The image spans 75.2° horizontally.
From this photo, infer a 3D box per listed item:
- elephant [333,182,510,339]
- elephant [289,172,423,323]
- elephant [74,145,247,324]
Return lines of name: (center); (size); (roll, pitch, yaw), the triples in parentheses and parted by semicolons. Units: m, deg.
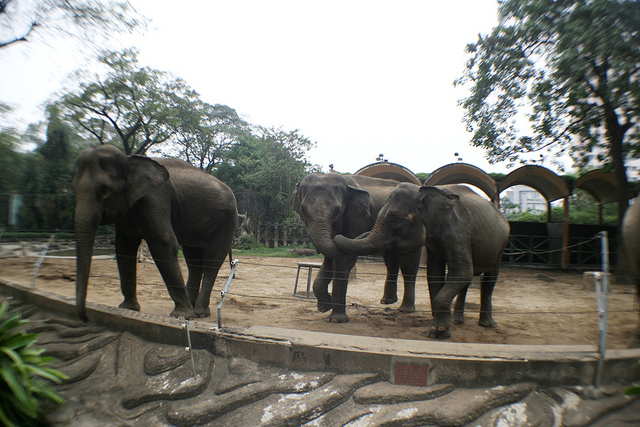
elephant: (2.084, 0.740, 7.327); (2.942, 2.612, 1.160); (4, -4, -28)
elephant: (0.735, 0.699, 8.722); (3.593, 2.822, 1.740); (3, -1, -44)
elephant: (-2.823, 0.402, 7.513); (2.233, 2.857, 2.996); (3, -4, -6)
